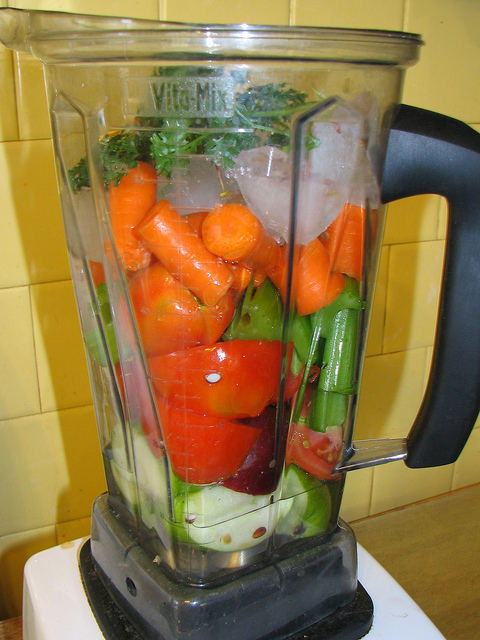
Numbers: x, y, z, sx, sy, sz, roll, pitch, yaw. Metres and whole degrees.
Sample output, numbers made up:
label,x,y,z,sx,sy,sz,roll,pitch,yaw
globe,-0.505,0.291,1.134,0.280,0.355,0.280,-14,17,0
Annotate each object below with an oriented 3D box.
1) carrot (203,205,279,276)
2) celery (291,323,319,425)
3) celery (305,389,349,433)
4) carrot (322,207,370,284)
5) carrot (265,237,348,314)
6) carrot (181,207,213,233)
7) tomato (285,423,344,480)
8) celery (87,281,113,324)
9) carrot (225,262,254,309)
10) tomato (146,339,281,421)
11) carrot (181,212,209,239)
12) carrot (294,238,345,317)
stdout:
label,x,y,z,sx,sy,sz,roll,pitch,yaw
carrot,0.001,-0.040,0.270,0.038,0.035,0.016,0,25,1
celery,0.037,0.039,0.336,0.010,0.089,0.007,4,33,-8
celery,0.057,0.059,0.352,0.023,0.033,0.024,20,17,20
carrot,0.071,-0.041,0.330,0.031,0.051,0.034,-2,-11,34
carrot,0.049,-0.029,0.321,0.051,0.051,0.047,-2,8,-7
carrot,-0.022,-0.051,0.266,0.014,0.010,0.008,-1,-12,5
tomato,0.049,0.088,0.359,0.035,0.032,0.028,27,27,-1
celery,-0.085,-0.011,0.324,0.009,0.024,0.022,-1,-2,-38
carrot,0.000,-0.020,0.274,0.010,0.017,0.014,8,3,-40
tomato,-0.013,0.044,0.282,0.059,0.034,0.052,8,-30,-14
carrot,-0.023,-0.047,0.267,0.011,0.013,0.008,0,1,-3
carrot,0.043,-0.024,0.302,0.021,0.038,0.038,-4,26,-13
